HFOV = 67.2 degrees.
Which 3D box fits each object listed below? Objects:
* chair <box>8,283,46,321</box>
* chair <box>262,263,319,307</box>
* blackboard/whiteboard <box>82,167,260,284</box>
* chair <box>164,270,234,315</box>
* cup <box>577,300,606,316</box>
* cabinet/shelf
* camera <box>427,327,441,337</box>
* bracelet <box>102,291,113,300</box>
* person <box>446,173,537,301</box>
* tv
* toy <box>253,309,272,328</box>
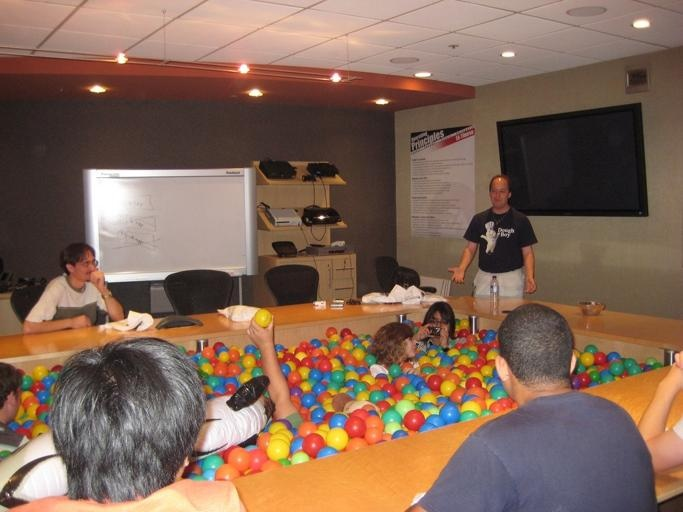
[{"bbox_3d":[-2.367,0.318,3.873,0.295,0.254,0.254,-6,9,30],"label":"chair"},{"bbox_3d":[-0.453,0.233,4.788,0.370,0.542,0.407,-3,5,-25],"label":"chair"},{"bbox_3d":[-1.933,-0.353,5.708,1.315,0.959,0.168,-1,1,-17],"label":"blackboard/whiteboard"},{"bbox_3d":[-1.246,0.246,4.613,0.420,0.632,0.447,-3,6,-26],"label":"chair"},{"bbox_3d":[1.804,0.380,3.765,0.132,0.068,0.134,0,-5,0],"label":"cup"},{"bbox_3d":[-0.420,-0.239,7.099,1.086,1.935,0.565,-12,29,-21],"label":"cabinet/shelf"},{"bbox_3d":[0.686,0.558,3.792,0.067,0.023,0.073,4,7,32],"label":"camera"},{"bbox_3d":[-1.705,0.273,3.741,0.073,0.049,0.067,-34,-4,-13],"label":"bracelet"},{"bbox_3d":[1.351,-0.149,4.439,0.598,1.088,0.596,-1,7,20],"label":"person"},{"bbox_3d":[2.553,-1.036,5.564,0.111,1.006,1.435,-17,15,-39],"label":"tv"},{"bbox_3d":[-0.404,0.321,2.653,0.085,0.100,0.083,-13,-8,10],"label":"toy"}]
